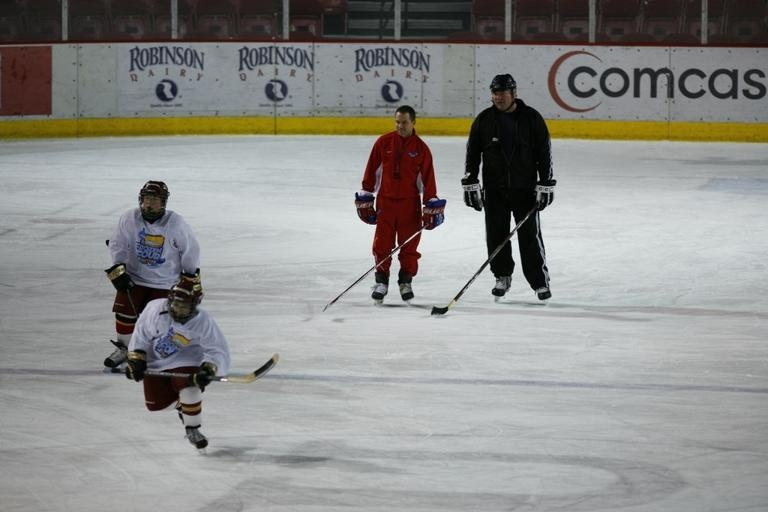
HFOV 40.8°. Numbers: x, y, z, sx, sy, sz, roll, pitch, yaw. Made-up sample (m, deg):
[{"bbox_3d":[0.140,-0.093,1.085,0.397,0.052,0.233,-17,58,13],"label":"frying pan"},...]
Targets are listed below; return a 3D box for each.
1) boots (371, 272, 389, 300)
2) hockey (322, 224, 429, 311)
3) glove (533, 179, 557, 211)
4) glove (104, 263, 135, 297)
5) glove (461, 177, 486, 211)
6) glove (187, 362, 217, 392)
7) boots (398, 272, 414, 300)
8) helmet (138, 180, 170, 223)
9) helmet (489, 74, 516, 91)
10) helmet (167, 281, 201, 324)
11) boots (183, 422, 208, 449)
[{"bbox_3d":[-0.027,0.240,8.173,0.103,0.117,0.269,1,12,5],"label":"boots"},{"bbox_3d":[-0.060,0.120,8.651,1.234,0.031,0.055,-35,-12,-5],"label":"hockey"},{"bbox_3d":[1.327,-0.494,8.299,0.266,0.198,0.169,-1,2,-18],"label":"glove"},{"bbox_3d":[-1.808,0.163,7.032,0.198,0.222,0.149,-31,13,2],"label":"glove"},{"bbox_3d":[0.687,-0.504,8.424,0.232,0.235,0.117,-2,-14,-45],"label":"glove"},{"bbox_3d":[-1.029,0.682,5.882,0.172,0.061,0.164,3,-29,-43],"label":"glove"},{"bbox_3d":[0.169,0.247,8.268,0.099,0.232,0.112,-6,-12,-4],"label":"boots"},{"bbox_3d":[-1.520,-0.354,6.749,0.174,0.274,0.214,1,8,-13],"label":"helmet"},{"bbox_3d":[0.944,-1.372,8.208,0.204,0.131,0.254,-2,13,-8],"label":"helmet"},{"bbox_3d":[-1.167,0.240,5.987,0.219,0.210,0.248,12,15,3],"label":"helmet"},{"bbox_3d":[-1.082,1.037,5.897,0.085,0.073,0.193,-1,2,-31],"label":"boots"}]
